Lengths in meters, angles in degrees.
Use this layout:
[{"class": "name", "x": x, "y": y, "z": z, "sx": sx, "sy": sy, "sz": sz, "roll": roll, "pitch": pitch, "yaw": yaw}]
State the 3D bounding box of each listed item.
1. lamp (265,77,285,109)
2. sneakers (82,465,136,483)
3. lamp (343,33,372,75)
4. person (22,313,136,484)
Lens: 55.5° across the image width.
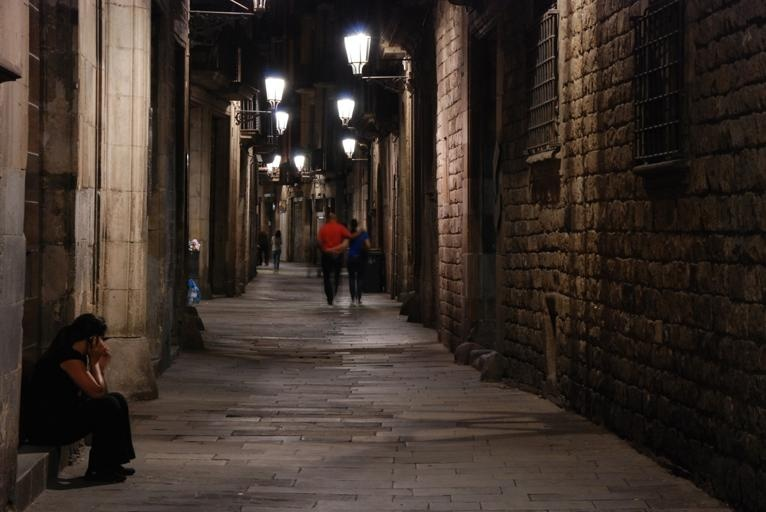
[{"class": "lamp", "x": -2.793, "y": -4.166, "z": 18.606, "sx": 0.418, "sy": 0.943, "sz": 1.772, "roll": 0, "pitch": 2, "yaw": -10}, {"class": "sneakers", "x": -2.062, "y": 1.631, "z": 5.442, "sx": 0.260, "sy": 0.134, "sz": 0.149, "roll": -9, "pitch": 2, "yaw": 0}, {"class": "lamp", "x": -0.488, "y": -3.848, "z": 13.596, "sx": 0.453, "sy": 0.862, "sz": 0.797, "roll": 0, "pitch": 2, "yaw": -2}, {"class": "person", "x": -2.294, "y": 1.063, "z": 5.506, "sx": 0.804, "sy": 1.214, "sz": 0.315, "roll": 0, "pitch": 2, "yaw": 1}]
